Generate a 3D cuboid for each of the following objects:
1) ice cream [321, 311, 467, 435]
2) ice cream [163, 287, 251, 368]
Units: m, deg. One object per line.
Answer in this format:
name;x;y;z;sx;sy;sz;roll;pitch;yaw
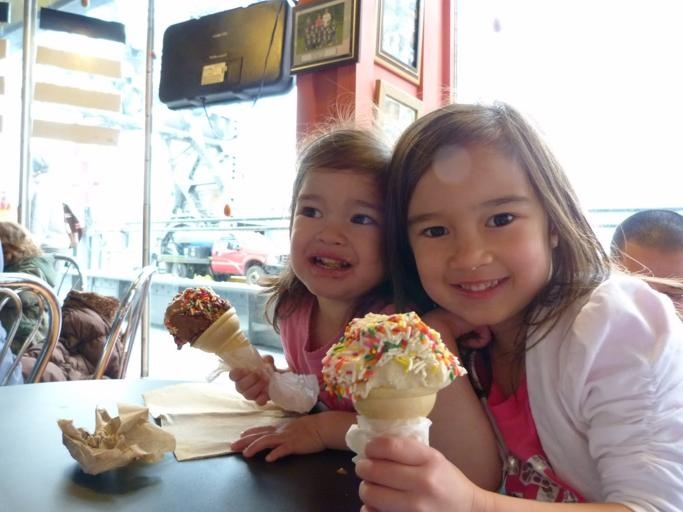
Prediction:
ice cream;0.094;0.223;1.034;0.259;0.218;0.250;-7;8;-44
ice cream;-0.351;0.190;1.384;0.220;0.212;0.096;-2;11;-11
